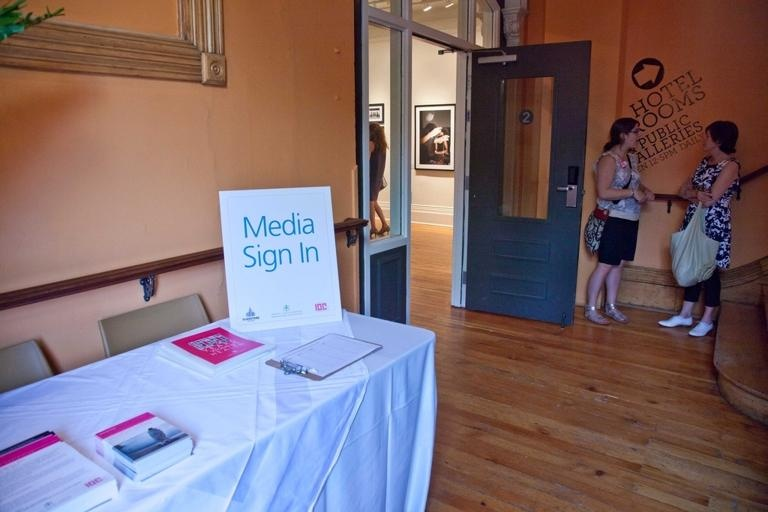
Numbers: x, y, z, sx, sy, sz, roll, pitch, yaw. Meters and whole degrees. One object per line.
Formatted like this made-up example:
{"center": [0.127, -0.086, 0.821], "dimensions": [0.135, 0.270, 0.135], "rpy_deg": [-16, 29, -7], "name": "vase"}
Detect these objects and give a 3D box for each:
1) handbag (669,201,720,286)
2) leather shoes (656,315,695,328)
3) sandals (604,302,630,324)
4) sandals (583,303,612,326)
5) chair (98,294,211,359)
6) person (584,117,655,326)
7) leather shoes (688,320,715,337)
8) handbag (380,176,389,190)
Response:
{"center": [2.741, -0.066, 4.412], "dimensions": [0.350, 0.750, 0.214], "rpy_deg": [0, 18, 6], "name": "handbag"}
{"center": [2.721, 0.595, 4.733], "dimensions": [0.323, 0.132, 0.129], "rpy_deg": [0, 5, 13], "name": "leather shoes"}
{"center": [2.284, 0.544, 4.886], "dimensions": [0.098, 0.115, 0.280], "rpy_deg": [-19, 21, -22], "name": "sandals"}
{"center": [2.063, 0.562, 4.856], "dimensions": [0.101, 0.120, 0.292], "rpy_deg": [-11, 5, -14], "name": "sandals"}
{"center": [-1.155, 0.317, 2.570], "dimensions": [0.291, 0.523, 0.301], "rpy_deg": [-4, 11, 40], "name": "chair"}
{"center": [2.174, -0.318, 4.692], "dimensions": [0.490, 1.873, 0.381], "rpy_deg": [-5, 18, -10], "name": "person"}
{"center": [2.832, 0.635, 4.506], "dimensions": [0.271, 0.103, 0.100], "rpy_deg": [-14, 11, -38], "name": "leather shoes"}
{"center": [0.000, -0.573, 3.944], "dimensions": [0.072, 0.139, 0.095], "rpy_deg": [3, 10, 27], "name": "handbag"}
